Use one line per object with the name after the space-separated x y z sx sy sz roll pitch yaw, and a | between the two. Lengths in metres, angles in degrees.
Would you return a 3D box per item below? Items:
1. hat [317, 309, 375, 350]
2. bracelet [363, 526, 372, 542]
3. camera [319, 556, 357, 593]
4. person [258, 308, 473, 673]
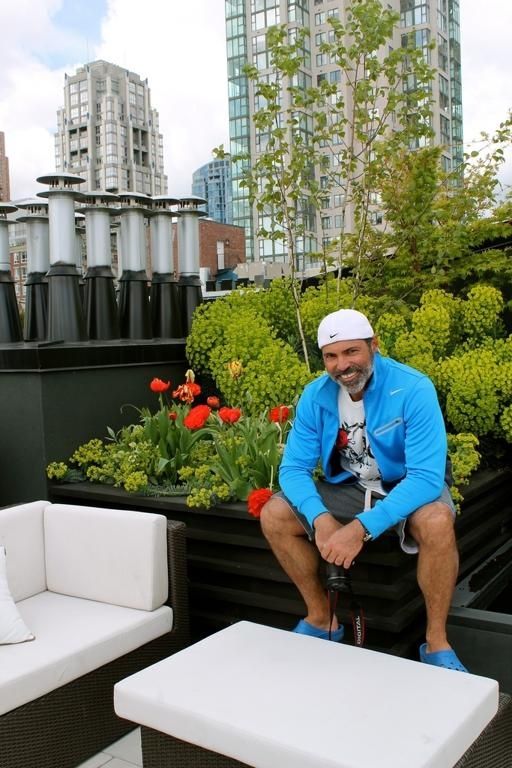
0.308 -0.189 2.185 0.150 0.104 0.148 -14 16 10 | hat
0.363 0.498 2.050 0.025 0.041 0.065 -10 1 3 | bracelet
0.253 0.617 1.998 0.085 0.091 0.100 -10 2 1 | camera
0.450 0.366 2.254 0.718 1.155 0.641 0 5 34 | person
